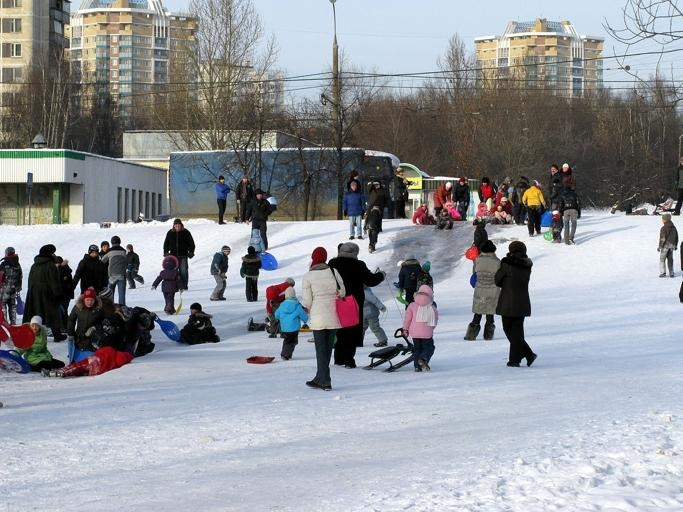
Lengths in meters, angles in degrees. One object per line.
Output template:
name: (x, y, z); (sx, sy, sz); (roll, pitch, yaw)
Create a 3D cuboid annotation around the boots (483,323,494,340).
boots: (3.539, 1.756, 29.220); (0.159, 0.508, 0.336); (3, 22, 3)

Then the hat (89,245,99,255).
hat: (-6.223, -0.101, 30.799); (0.219, 0.290, 0.301); (4, -27, -13)

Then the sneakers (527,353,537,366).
sneakers: (4.085, 2.210, 26.214); (0.083, 0.257, 0.169); (8, 15, -35)

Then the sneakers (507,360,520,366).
sneakers: (3.692, 2.285, 26.195); (0.193, 0.089, 0.112); (-7, 3, 11)

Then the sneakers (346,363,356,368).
sneakers: (0.216, 2.356, 26.500); (0.224, 0.107, 0.170); (-1, 4, -5)

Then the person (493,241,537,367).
person: (3.735, 1.032, 26.181); (0.817, 2.644, 0.634); (-1, 4, -2)

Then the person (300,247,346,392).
person: (-0.371, 1.274, 24.789); (0.876, 2.854, 0.858); (-2, 2, -30)

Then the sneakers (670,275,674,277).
sneakers: (10.025, 0.631, 37.071); (0.077, 0.082, 0.143); (0, -5, 14)

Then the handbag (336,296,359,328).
handbag: (0.119, 1.125, 24.547); (0.454, 0.634, 0.255); (-16, -6, -3)

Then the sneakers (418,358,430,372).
sneakers: (1.765, 2.322, 25.973); (0.185, 0.292, 0.145); (-20, 5, 5)

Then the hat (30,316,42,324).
hat: (-6.646, 1.404, 26.673); (0.185, 0.218, 0.268); (3, 1, 1)

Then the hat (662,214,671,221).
hat: (9.810, -1.092, 36.812); (0.203, 0.196, 0.499); (0, 4, 11)
